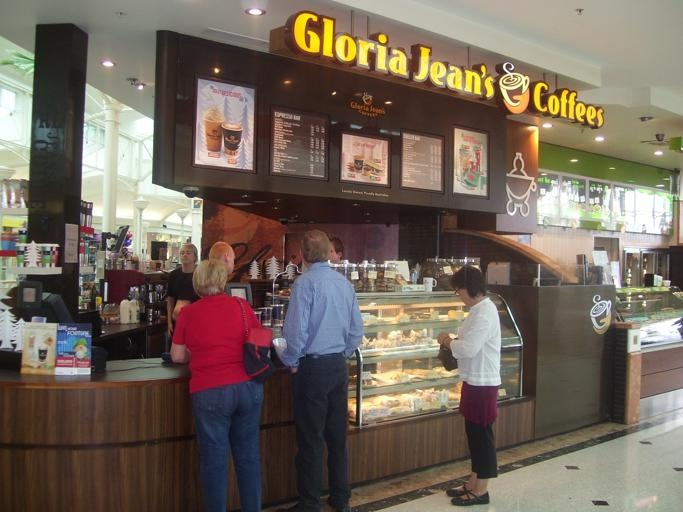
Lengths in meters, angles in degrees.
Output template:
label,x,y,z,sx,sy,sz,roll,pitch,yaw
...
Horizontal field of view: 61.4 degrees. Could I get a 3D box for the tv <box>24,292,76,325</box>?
label,x,y,z,sx,sy,sz,roll,pitch,yaw
tv,-2.228,0.413,4.459,0.413,0.198,0.199,11,10,31

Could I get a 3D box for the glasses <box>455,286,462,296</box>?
label,x,y,z,sx,sy,sz,roll,pitch,yaw
glasses,0.992,0.299,4.903,0.056,0.078,0.028,22,2,-23

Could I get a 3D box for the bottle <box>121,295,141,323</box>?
label,x,y,z,sx,sy,sz,roll,pitch,yaw
bottle,-2.467,0.628,6.695,0.221,0.256,0.314,2,9,-21

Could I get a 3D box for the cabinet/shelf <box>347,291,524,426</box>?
label,x,y,z,sx,sy,sz,roll,pitch,yaw
cabinet/shelf,0.768,0.945,5.212,1.394,0.927,0.482,1,-3,-32

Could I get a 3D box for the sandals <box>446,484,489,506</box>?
label,x,y,z,sx,sy,sz,roll,pitch,yaw
sandals,1.041,1.983,4.752,0.203,0.071,0.158,3,-4,1

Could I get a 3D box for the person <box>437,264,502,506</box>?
label,x,y,z,sx,sy,sz,roll,pitch,yaw
person,1.121,1.069,4.801,0.505,1.913,0.495,5,8,-1

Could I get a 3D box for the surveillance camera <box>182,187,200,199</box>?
label,x,y,z,sx,sy,sz,roll,pitch,yaw
surveillance camera,-1.428,-0.603,5.463,0.114,0.077,0.117,0,-1,-2

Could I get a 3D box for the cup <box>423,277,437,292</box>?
label,x,y,z,sx,sy,sz,roll,pitch,yaw
cup,0.902,0.296,5.864,0.159,0.151,0.105,3,-4,-15

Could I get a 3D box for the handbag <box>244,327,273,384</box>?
label,x,y,z,sx,sy,sz,roll,pitch,yaw
handbag,-0.594,0.699,4.067,0.207,0.387,0.130,2,9,-23

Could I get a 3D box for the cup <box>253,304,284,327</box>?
label,x,y,z,sx,sy,sz,roll,pitch,yaw
cup,-0.641,0.518,5.045,0.260,0.268,0.153,0,1,-8
